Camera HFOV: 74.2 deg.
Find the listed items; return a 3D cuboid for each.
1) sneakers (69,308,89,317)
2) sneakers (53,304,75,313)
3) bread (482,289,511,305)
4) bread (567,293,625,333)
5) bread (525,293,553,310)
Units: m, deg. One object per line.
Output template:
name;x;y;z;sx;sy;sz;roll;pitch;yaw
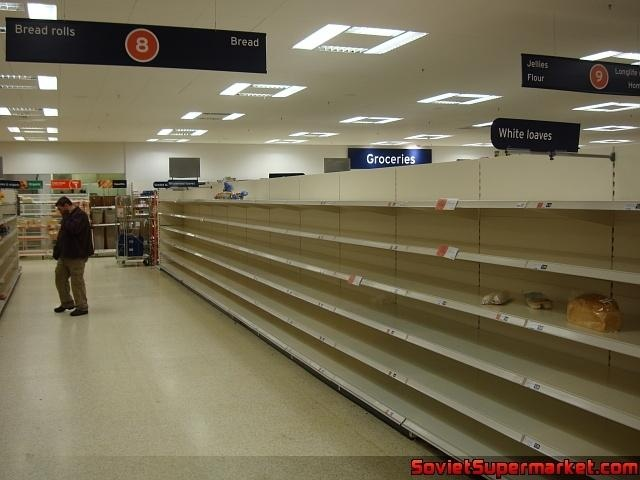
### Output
sneakers;-4.053;1.237;7.138;0.259;0.089;0.125;4;-6;-19
sneakers;-4.439;1.226;7.404;0.393;0.141;0.132;2;-2;-17
bread;1.163;0.382;2.784;0.115;0.041;0.158;0;4;39
bread;1.496;0.393;2.322;0.184;0.153;0.295;-6;2;-5
bread;1.376;0.388;2.680;0.105;0.034;0.129;3;6;16
